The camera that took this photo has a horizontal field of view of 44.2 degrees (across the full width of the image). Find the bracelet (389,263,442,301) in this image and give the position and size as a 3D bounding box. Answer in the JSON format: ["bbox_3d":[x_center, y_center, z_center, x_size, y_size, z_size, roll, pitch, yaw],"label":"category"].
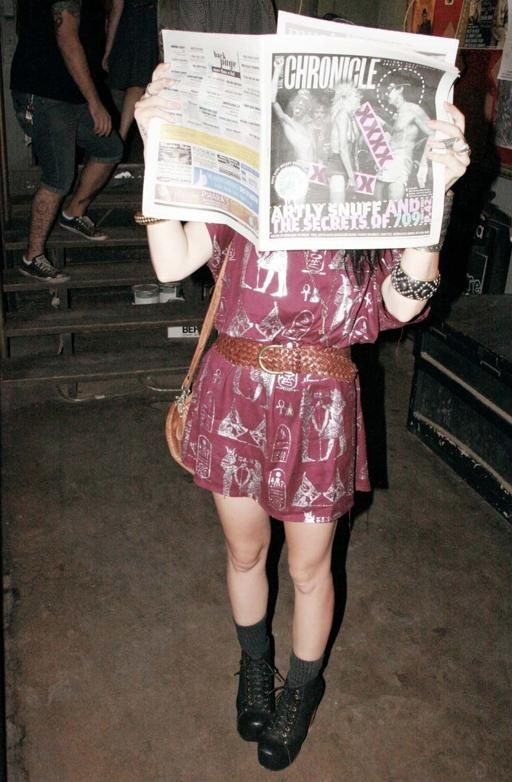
[{"bbox_3d":[0.301,-0.205,1.204,0.093,0.074,0.068,8,30,12],"label":"bracelet"}]

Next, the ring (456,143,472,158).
[{"bbox_3d":[0.333,-0.384,1.002,0.017,0.014,0.024,-6,46,1],"label":"ring"}]

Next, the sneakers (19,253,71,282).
[{"bbox_3d":[-1.325,-0.743,3.944,0.321,0.148,0.128,13,59,-4],"label":"sneakers"}]

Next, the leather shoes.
[{"bbox_3d":[0.048,0.895,1.757,0.208,0.137,0.377,3,41,8],"label":"leather shoes"}]

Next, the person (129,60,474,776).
[{"bbox_3d":[0.043,0.227,1.511,0.637,1.783,0.358,10,29,16],"label":"person"}]
